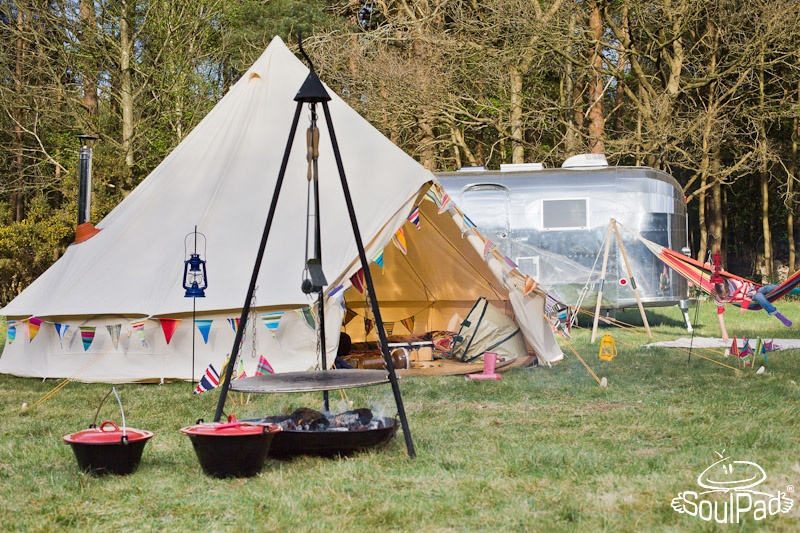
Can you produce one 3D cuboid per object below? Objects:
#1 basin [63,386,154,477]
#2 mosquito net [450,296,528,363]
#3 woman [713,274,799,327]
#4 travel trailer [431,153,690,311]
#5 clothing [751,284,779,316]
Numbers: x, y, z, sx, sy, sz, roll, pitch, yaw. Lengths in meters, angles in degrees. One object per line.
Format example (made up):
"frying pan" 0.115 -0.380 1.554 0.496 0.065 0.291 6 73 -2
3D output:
"basin" -3.776 2.118 14.009 1.113 1.007 1.104 2 -2 0
"mosquito net" 1.521 1.088 18.499 1.150 0.760 1.097 0 4 -3
"woman" 6.289 0.544 18.823 1.566 0.687 0.863 8 -8 -8
"travel trailer" 3.568 -0.743 23.625 6.968 3.276 3.321 2 10 45
"clothing" 6.222 0.593 18.447 0.360 0.491 0.843 3 14 16
